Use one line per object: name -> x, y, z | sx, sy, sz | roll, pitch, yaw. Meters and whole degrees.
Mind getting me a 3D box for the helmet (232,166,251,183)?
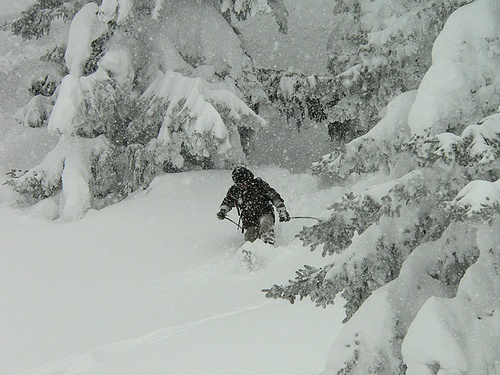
helmet -> -0.261, -0.473, 29.059 | 0.443, 0.541, 0.455 | -11, 11, 11
